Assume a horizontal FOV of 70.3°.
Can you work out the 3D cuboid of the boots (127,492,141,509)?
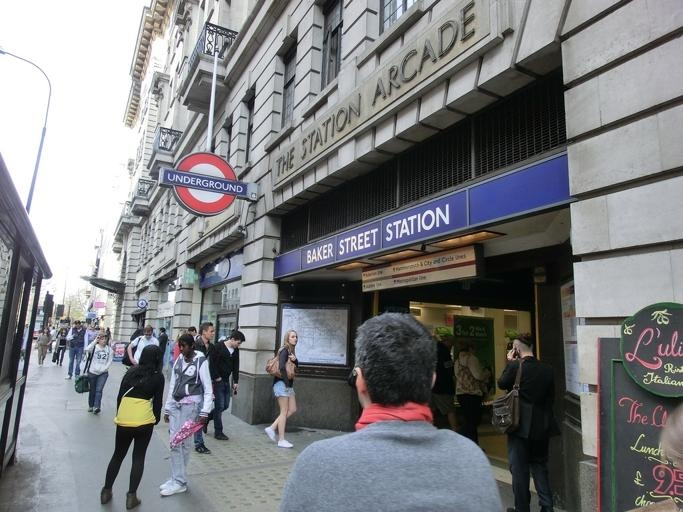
[{"bbox_3d":[-2.567,3.046,5.980,0.088,0.171,0.238,0,4,8],"label":"boots"}]

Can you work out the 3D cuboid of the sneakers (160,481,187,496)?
[{"bbox_3d":[-2.236,3.123,6.473,0.214,0.089,0.170,10,-12,-24],"label":"sneakers"}]

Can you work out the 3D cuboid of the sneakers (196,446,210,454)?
[{"bbox_3d":[-2.364,3.316,8.252,0.277,0.123,0.105,-6,-18,34],"label":"sneakers"}]

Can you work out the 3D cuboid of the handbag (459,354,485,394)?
[{"bbox_3d":[2.522,2.362,9.848,0.496,0.825,0.631,5,-11,-29],"label":"handbag"}]

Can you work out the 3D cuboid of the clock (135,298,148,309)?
[{"bbox_3d":[-10.799,2.702,26.358,0.596,0.637,0.150,13,8,36],"label":"clock"}]

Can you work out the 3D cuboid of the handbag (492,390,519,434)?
[{"bbox_3d":[2.026,1.994,6.038,0.188,0.487,0.389,23,-37,-21],"label":"handbag"}]
